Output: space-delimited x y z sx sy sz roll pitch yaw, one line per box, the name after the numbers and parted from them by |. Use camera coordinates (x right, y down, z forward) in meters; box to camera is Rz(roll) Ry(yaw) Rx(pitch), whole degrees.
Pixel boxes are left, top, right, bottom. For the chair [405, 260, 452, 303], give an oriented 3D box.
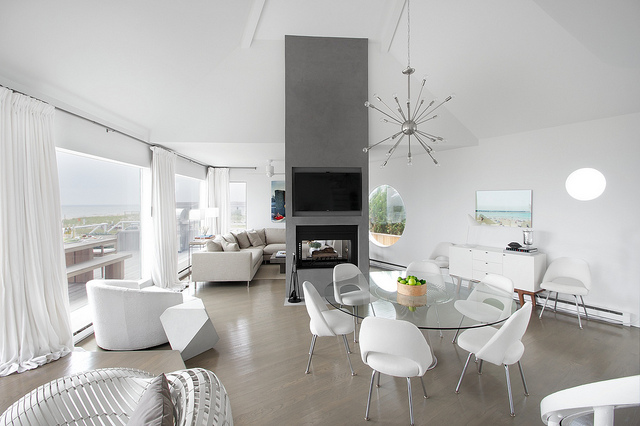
1.502 0.913 5.118 0.388 0.580 0.443 -1 -15 6 | chair

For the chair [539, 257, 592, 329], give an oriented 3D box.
3.878 1.260 5.963 0.744 1.066 0.669 6 4 36 | chair

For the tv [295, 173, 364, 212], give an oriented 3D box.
0.154 -0.402 6.723 1.262 0.738 0.051 0 5 17 | tv

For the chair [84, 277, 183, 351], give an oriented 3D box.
-2.750 1.381 5.514 1.145 0.911 1.204 -2 3 -40 | chair

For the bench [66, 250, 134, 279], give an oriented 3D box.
-4.118 0.934 7.058 0.480 0.530 1.636 8 -2 -45 | bench

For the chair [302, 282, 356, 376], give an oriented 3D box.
0.097 1.363 4.786 0.619 1.154 0.627 0 3 -5 | chair

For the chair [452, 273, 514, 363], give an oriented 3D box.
2.096 1.340 5.147 0.777 1.171 0.843 5 3 16 | chair

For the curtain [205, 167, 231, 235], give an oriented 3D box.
-2.927 -0.372 10.669 0.303 1.922 0.809 3 5 41 | curtain

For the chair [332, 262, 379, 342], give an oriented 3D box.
0.546 1.177 5.034 0.563 0.857 0.640 -15 -4 36 | chair

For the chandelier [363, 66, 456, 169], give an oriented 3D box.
1.632 -1.806 6.720 1.394 2.073 1.167 10 6 44 | chandelier

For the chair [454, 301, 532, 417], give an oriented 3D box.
1.936 1.573 4.199 0.720 1.243 0.818 2 4 38 | chair
